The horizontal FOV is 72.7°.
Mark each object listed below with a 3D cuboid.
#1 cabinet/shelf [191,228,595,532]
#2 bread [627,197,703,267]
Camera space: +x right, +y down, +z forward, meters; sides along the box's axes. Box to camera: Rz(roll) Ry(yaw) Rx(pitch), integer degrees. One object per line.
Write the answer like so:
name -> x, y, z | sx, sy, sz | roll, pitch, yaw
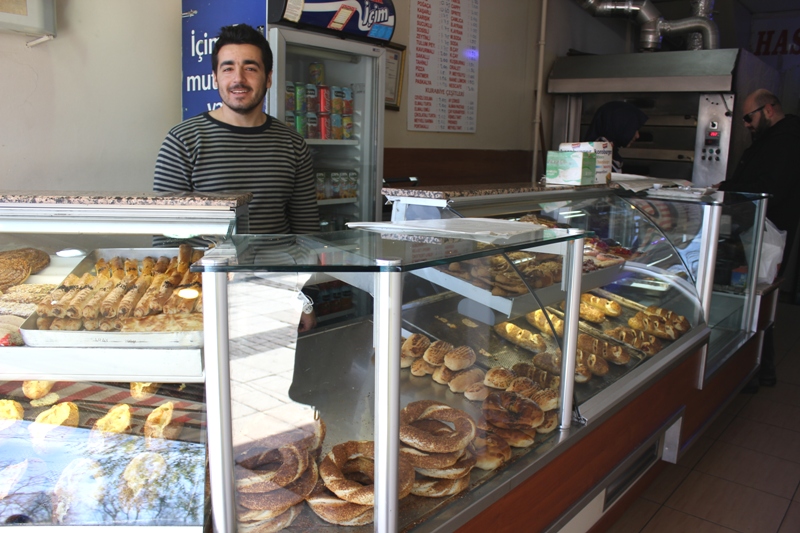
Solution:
cabinet/shelf -> 0.070, 0.269, 1.500 | 1.171, 0.675, 0.415 | -5, 16, -22
bread -> 1.257, -0.165, 2.660 | 0.412, 0.354, 0.307 | 1, 0, -8
